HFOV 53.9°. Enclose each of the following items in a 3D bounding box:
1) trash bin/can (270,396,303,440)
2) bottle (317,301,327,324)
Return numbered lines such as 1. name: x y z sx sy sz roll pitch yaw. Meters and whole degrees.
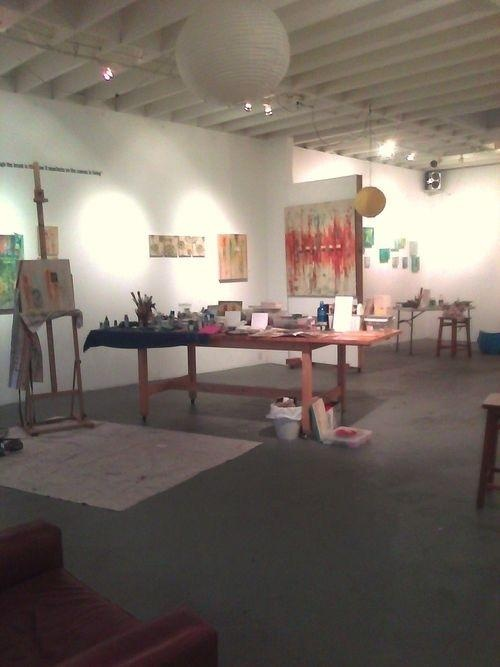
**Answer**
1. trash bin/can: 0.368 0.846 4.971 0.340 0.262 0.323 -2 8 -23
2. bottle: 0.828 -0.236 5.600 0.131 0.236 0.369 -2 4 8
